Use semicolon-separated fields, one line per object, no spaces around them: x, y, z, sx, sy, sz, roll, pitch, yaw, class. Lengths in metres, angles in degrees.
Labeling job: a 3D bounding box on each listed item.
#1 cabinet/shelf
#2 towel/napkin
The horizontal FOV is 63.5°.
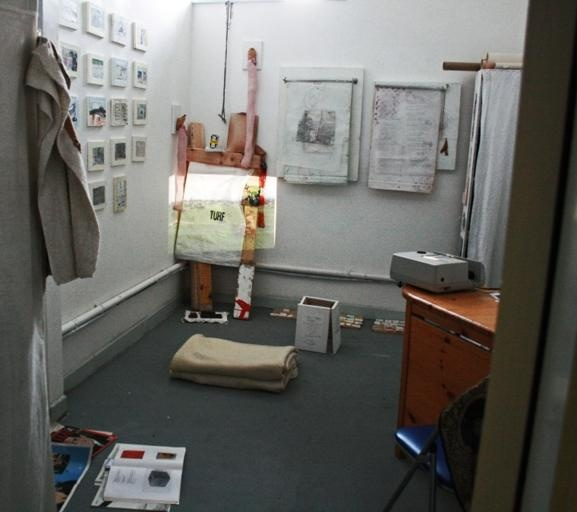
0.953;0.644;2.790;0.509;0.819;0.747;14;15;31;cabinet/shelf
-0.866;-0.342;1.814;0.232;0.930;0.164;-5;13;-32;towel/napkin
